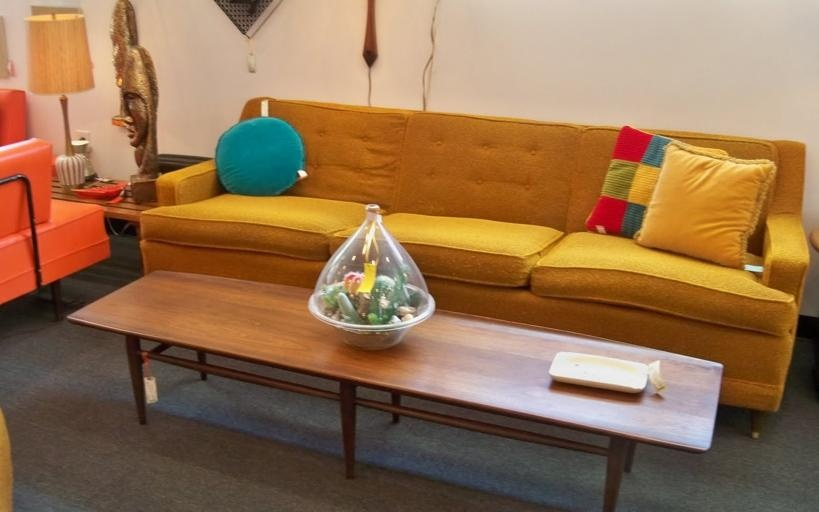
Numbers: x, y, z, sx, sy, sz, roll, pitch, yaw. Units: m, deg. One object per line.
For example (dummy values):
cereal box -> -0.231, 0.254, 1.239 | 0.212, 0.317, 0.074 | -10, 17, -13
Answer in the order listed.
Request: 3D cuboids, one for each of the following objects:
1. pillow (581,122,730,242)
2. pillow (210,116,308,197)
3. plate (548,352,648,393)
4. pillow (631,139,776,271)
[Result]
pillow -> 1.408, -0.407, 3.502 | 0.715, 0.595, 0.219 | 23, 12, 38
pillow -> -0.968, -0.637, 3.889 | 0.649, 0.470, 0.133 | 4, 8, 4
plate -> 0.743, 0.455, 2.372 | 0.296, 0.034, 0.155 | 6, 28, 18
pillow -> 1.515, -0.270, 3.114 | 0.531, 0.548, 0.367 | 14, 26, 19
